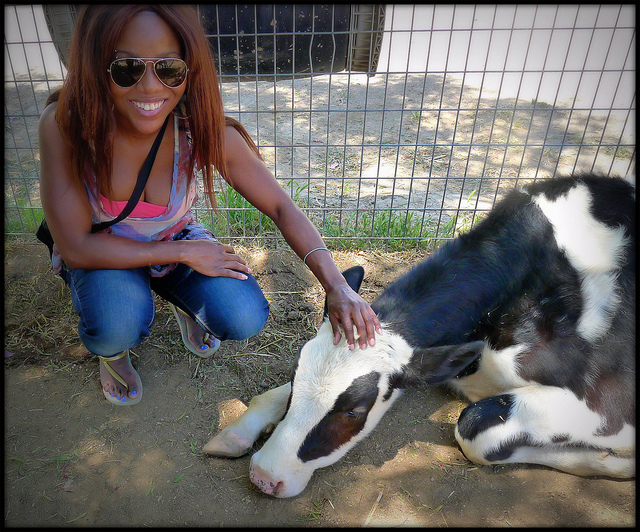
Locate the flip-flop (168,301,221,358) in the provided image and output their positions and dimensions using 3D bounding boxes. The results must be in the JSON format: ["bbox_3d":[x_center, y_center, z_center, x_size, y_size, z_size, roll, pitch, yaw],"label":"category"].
[{"bbox_3d":[-0.890,0.440,3.408,0.208,0.518,0.136,-34,8,3],"label":"flip-flop"}]
